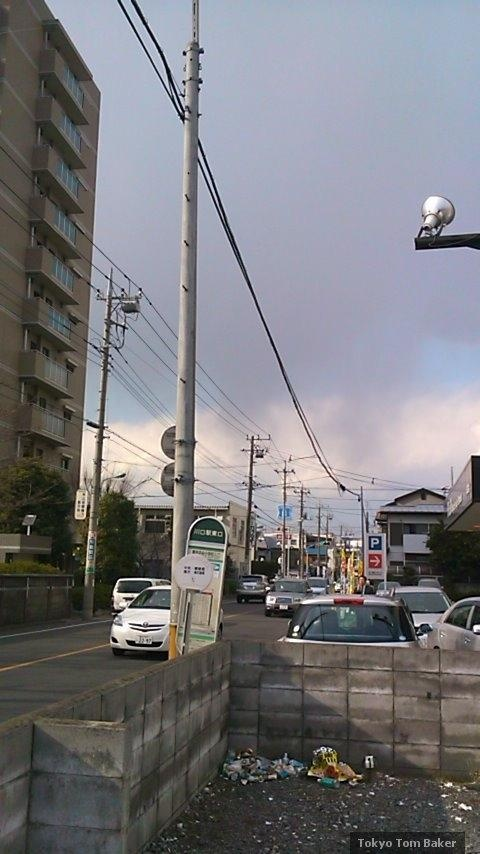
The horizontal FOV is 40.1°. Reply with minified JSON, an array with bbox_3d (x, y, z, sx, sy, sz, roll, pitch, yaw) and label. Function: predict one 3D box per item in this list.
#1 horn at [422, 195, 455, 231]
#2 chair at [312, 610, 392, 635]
[{"bbox_3d":[2.183,-2.356,7.200,0.332,0.416,0.388,-1,-11,5],"label":"horn"},{"bbox_3d":[1.161,1.994,6.795,0.798,0.258,0.224,-2,-11,12],"label":"chair"}]
